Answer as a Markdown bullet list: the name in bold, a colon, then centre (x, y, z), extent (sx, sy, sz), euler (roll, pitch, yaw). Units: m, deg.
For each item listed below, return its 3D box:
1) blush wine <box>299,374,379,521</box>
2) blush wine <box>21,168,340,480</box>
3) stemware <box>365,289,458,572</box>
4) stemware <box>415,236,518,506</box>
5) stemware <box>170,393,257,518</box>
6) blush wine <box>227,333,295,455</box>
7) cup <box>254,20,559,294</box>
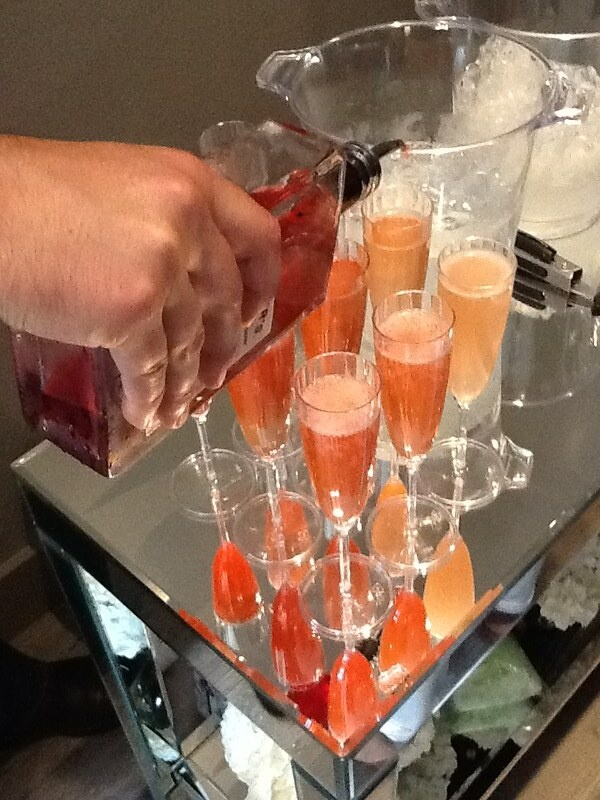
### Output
- **blush wine**: centre (0.034, 0.037, 0.665), extent (0.058, 0.138, 0.062), euler (-15, 45, -9)
- **blush wine**: centre (-0.085, -0.063, 0.591), extent (0.101, 0.119, 0.309), euler (38, 59, 22)
- **stemware**: centre (0.110, 0.029, 0.752), extent (0.082, 0.225, 0.080), euler (0, 27, 8)
- **stemware**: centre (0.170, -0.026, 0.823), extent (0.120, 0.307, 0.120), euler (0, 49, 6)
- **stemware**: centre (-0.108, 0.079, 0.952), extent (0.108, 0.121, 0.108), euler (37, 63, 21)
- **blush wine**: centre (-0.035, -0.005, 0.754), extent (0.068, 0.100, 0.059), euler (-5, 8, 26)
- **cup**: centre (0.103, -0.298, 0.997), extent (0.331, 0.221, 0.278), euler (22, 60, 19)
